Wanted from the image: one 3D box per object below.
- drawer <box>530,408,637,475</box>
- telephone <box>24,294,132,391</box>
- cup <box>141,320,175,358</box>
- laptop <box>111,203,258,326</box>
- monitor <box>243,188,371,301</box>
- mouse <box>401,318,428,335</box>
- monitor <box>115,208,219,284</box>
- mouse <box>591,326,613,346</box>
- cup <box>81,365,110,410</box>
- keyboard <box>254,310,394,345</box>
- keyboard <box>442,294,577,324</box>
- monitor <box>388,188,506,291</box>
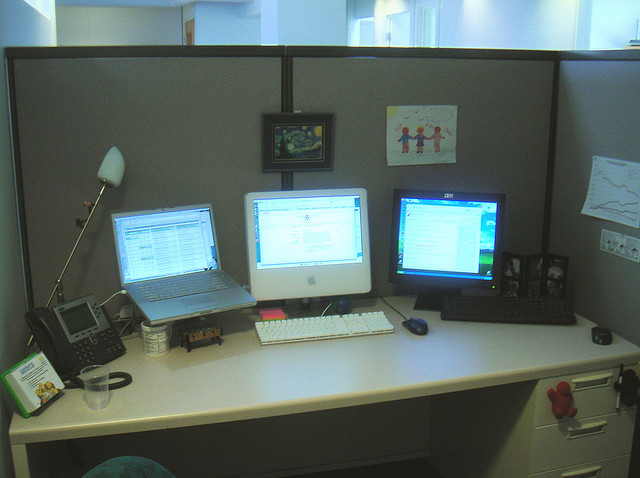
[{"bbox_3d":[0.954,0.736,1.984,0.282,0.167,0.272,-4,10,-12],"label":"drawer"},{"bbox_3d":[-0.794,0.344,1.884,0.391,0.211,0.294,7,15,19],"label":"telephone"},{"bbox_3d":[-0.577,0.363,1.975,0.133,0.123,0.106,1,11,3],"label":"cup"},{"bbox_3d":[-0.525,0.085,2.078,0.479,0.355,0.504,-8,21,-30],"label":"laptop"},{"bbox_3d":[-0.056,0.016,2.288,0.513,0.443,0.177,-3,6,-15],"label":"monitor"},{"bbox_3d":[0.380,0.332,2.122,0.104,0.046,0.118,-3,11,-2],"label":"mouse"},{"bbox_3d":[-0.607,0.027,2.114,0.376,0.229,0.272,-7,14,-21],"label":"monitor"},{"bbox_3d":[1.046,0.356,2.033,0.064,0.042,0.066,-2,10,0],"label":"mouse"},{"bbox_3d":[-0.702,0.473,1.720,0.096,0.114,0.098,-5,7,1],"label":"cup"},{"bbox_3d":[0.026,0.332,2.127,0.542,0.064,0.183,-5,11,-11],"label":"keyboard"},{"bbox_3d":[0.760,0.281,2.216,0.515,0.067,0.168,0,38,4],"label":"keyboard"},{"bbox_3d":[0.534,0.002,2.292,0.429,0.381,0.149,4,2,3],"label":"monitor"}]
